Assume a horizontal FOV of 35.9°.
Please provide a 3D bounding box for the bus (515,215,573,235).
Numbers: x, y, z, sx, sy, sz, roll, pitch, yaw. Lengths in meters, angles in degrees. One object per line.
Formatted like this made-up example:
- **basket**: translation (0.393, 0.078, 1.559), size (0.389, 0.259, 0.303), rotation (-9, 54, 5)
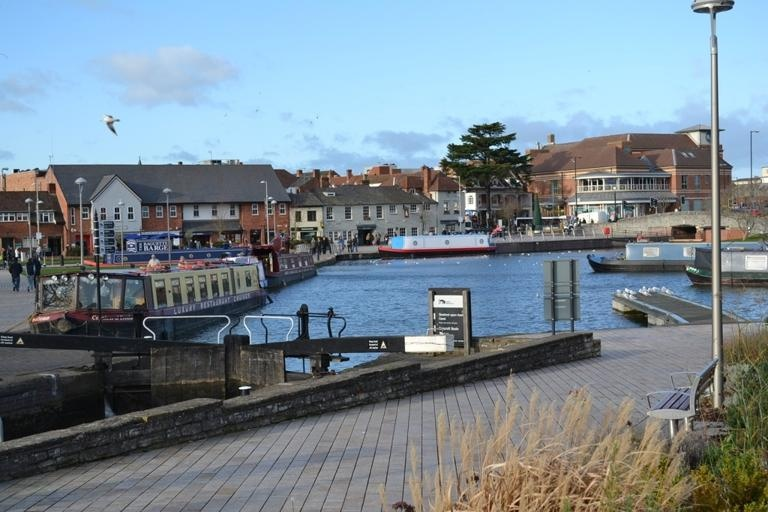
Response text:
- **bus**: translation (15.999, -3.696, 125.185), size (8.088, 2.529, 2.463), rotation (2, 0, 2)

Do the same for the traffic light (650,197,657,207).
- **traffic light**: translation (28.791, -5.713, 126.801), size (0.821, 0.826, 0.200), rotation (-3, 7, -34)

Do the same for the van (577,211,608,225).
- **van**: translation (21.997, -3.822, 124.902), size (2.475, 1.368, 1.591), rotation (3, 4, 21)

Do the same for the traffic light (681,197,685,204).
- **traffic light**: translation (32.402, -6.036, 128.586), size (0.598, 0.605, 0.217), rotation (-7, 2, -20)

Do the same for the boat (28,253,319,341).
- **boat**: translation (-8.219, 1.668, 47.247), size (3.240, 2.516, 17.257), rotation (-1, -1, 12)

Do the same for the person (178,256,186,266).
- **person**: translation (-9.802, 0.271, 57.094), size (0.447, 0.569, 1.239), rotation (2, -8, -6)

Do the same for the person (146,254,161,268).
- **person**: translation (-11.348, 0.247, 57.980), size (0.686, 1.075, 0.591), rotation (-2, -7, -2)
